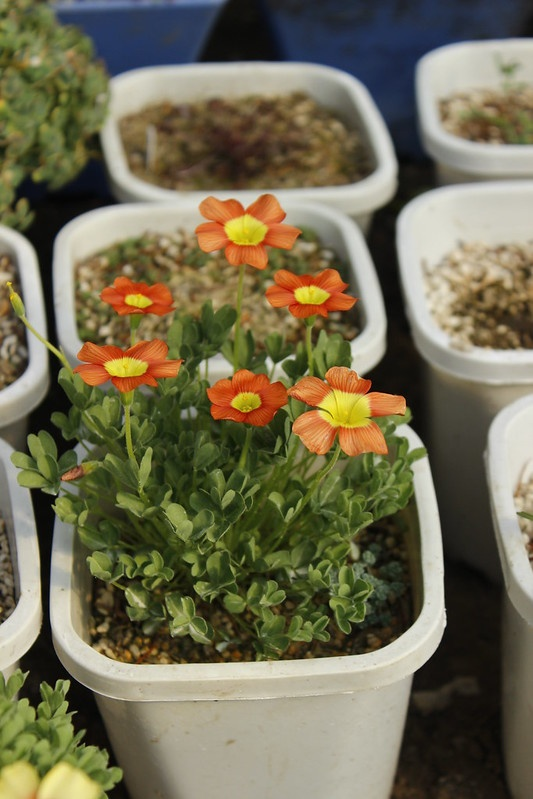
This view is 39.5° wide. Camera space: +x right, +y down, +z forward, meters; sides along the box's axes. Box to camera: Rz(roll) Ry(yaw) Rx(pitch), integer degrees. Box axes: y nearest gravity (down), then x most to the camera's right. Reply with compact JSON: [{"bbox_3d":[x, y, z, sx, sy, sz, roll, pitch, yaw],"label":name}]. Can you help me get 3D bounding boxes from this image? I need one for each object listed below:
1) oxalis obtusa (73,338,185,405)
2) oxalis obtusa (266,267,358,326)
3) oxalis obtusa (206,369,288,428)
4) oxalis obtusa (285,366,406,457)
[{"bbox_3d":[-0.140,-0.026,0.752,0.084,0.085,0.035,-13,70,21],"label":"oxalis obtusa"},{"bbox_3d":[0.051,-0.115,0.840,0.097,0.045,0.083,1,55,8],"label":"oxalis obtusa"},{"bbox_3d":[-0.022,-0.001,0.796,0.095,0.091,0.040,-3,68,7],"label":"oxalis obtusa"},{"bbox_3d":[0.077,0.027,0.736,0.100,0.037,0.095,-25,55,-25],"label":"oxalis obtusa"}]
